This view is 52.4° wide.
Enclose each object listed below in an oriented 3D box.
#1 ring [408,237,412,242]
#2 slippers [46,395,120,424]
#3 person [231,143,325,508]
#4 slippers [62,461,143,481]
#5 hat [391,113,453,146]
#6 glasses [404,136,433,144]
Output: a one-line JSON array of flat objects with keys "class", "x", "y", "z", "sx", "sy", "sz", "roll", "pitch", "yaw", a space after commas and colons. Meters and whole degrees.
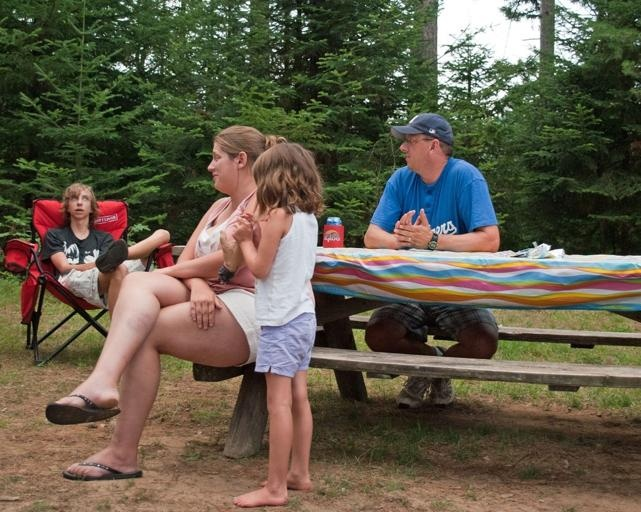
[{"class": "ring", "x": 0.545, "y": -0.099, "z": 3.973, "sx": 0.028, "sy": 0.025, "sz": 0.009, "roll": 2, "pitch": -19, "yaw": 10}, {"class": "slippers", "x": -1.051, "y": 0.674, "z": 2.892, "sx": 0.382, "sy": 0.108, "sz": 0.105, "roll": 5, "pitch": 39, "yaw": -20}, {"class": "person", "x": -0.202, "y": 0.281, "z": 3.045, "sx": 0.460, "sy": 1.634, "sz": 0.514, "roll": 4, "pitch": 7, "yaw": -8}, {"class": "slippers", "x": -1.028, "y": 1.010, "z": 3.045, "sx": 0.275, "sy": 0.044, "sz": 0.121, "roll": 6, "pitch": -7, "yaw": -13}, {"class": "hat", "x": 0.652, "y": -0.834, "z": 4.249, "sx": 0.424, "sy": 0.141, "sz": 0.222, "roll": 5, "pitch": 2, "yaw": 0}, {"class": "glasses", "x": 0.624, "y": -0.734, "z": 4.177, "sx": 0.134, "sy": 0.026, "sz": 0.066, "roll": 6, "pitch": 1, "yaw": 4}]
